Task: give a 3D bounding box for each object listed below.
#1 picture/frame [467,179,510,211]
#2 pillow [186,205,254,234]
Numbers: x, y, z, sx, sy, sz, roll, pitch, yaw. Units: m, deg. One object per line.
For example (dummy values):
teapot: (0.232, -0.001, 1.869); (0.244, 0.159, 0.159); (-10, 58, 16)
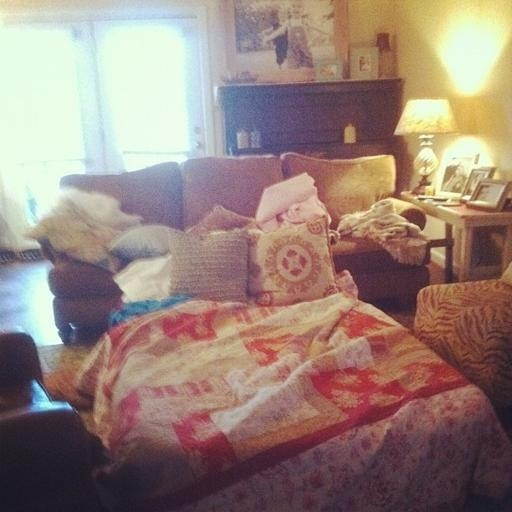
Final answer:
picture/frame: (1.224, -0.316, 2.719); (0.029, 0.142, 0.200); (28, 9, -12)
pillow: (-0.161, -0.155, 2.370); (0.261, 0.156, 0.069); (-1, -19, -6)
